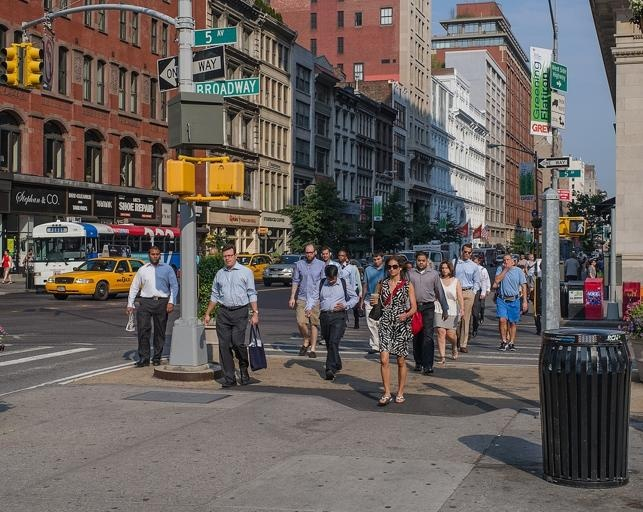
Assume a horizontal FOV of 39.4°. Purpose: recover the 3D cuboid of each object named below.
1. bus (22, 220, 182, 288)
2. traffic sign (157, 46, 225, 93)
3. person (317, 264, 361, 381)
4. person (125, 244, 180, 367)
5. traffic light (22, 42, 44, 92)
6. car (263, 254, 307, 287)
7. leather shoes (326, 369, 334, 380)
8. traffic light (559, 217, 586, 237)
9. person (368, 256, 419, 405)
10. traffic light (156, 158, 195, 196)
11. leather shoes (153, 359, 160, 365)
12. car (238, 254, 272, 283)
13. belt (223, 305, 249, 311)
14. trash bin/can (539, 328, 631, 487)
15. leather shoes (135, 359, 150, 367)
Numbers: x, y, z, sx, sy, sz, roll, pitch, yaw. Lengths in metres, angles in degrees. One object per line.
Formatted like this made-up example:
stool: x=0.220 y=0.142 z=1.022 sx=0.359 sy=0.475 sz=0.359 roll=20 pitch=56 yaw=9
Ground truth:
bus: x=-9.772 y=0.210 z=43.611 sx=3.001 sy=3.360 sz=10.965 roll=-1 pitch=-2 yaw=21
traffic sign: x=-2.041 y=-2.944 z=14.035 sx=1.088 sy=0.677 sz=0.662 roll=-1 pitch=-2 yaw=3
person: x=0.232 y=1.022 z=14.286 sx=0.571 sy=1.777 sz=1.315 roll=-1 pitch=-2 yaw=6
person: x=-2.805 y=0.849 z=14.932 sx=0.826 sy=1.979 sz=0.528 roll=0 pitch=-2 yaw=-6
traffic light: x=-6.141 y=-4.149 z=19.147 sx=0.382 sy=1.260 sz=1.864 roll=0 pitch=-2 yaw=-18
car: x=-1.898 y=0.773 z=46.753 sx=1.397 sy=1.387 sz=2.818 roll=-1 pitch=-3 yaw=15
leather shoes: x=0.134 y=1.823 z=13.694 sx=0.139 sy=0.162 sz=0.184 roll=-1 pitch=-2 yaw=-3
traffic light: x=7.710 y=-0.929 z=27.508 sx=0.582 sy=0.702 sz=3.118 roll=-1 pitch=-2 yaw=12
person: x=0.926 y=0.971 z=11.794 sx=0.452 sy=1.927 sz=0.716 roll=-2 pitch=-3 yaw=43
traffic light: x=-2.080 y=-1.157 z=13.071 sx=0.352 sy=0.563 sz=0.681 roll=-1 pitch=-2 yaw=23
leather shoes: x=-2.718 y=1.768 z=14.813 sx=0.113 sy=0.105 sz=0.225 roll=0 pitch=-2 yaw=-11
car: x=-3.537 y=0.584 z=48.345 sx=1.627 sy=1.417 sz=2.716 roll=-1 pitch=-3 yaw=15
belt: x=-1.254 y=0.765 z=13.078 sx=0.385 sy=0.083 sz=0.124 roll=-1 pitch=-2 yaw=-5
trash bin/can: x=2.354 y=1.377 z=8.022 sx=0.778 sy=1.381 sz=0.336 roll=-1 pitch=-2 yaw=15
leather shoes: x=-2.939 y=1.780 z=14.804 sx=0.098 sy=0.139 sz=0.193 roll=-6 pitch=-17 yaw=30
